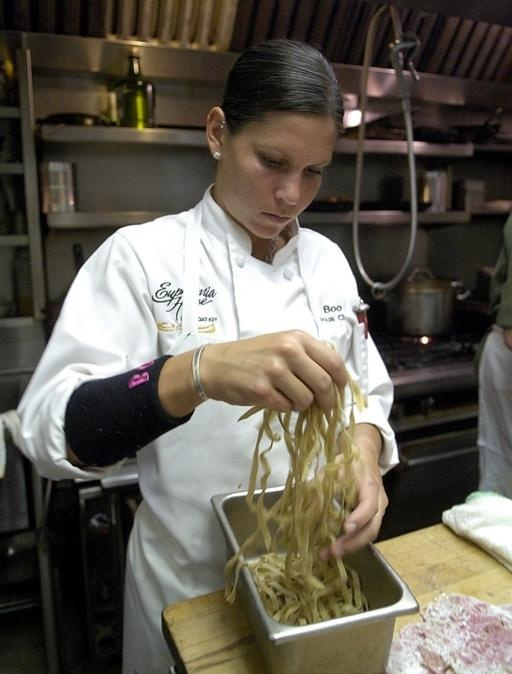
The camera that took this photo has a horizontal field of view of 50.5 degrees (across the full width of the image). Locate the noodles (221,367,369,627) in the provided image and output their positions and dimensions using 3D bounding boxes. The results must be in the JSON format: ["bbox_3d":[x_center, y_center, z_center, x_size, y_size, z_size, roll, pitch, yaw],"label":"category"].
[{"bbox_3d":[0.118,0.265,1.027,0.312,0.388,0.262,-4,15,-29],"label":"noodles"}]

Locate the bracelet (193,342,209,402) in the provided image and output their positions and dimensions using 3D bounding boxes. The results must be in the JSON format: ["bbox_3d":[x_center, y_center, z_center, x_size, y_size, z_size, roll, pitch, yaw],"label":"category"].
[{"bbox_3d":[-0.089,0.059,0.856,0.023,0.077,0.074,-1,10,-6],"label":"bracelet"}]

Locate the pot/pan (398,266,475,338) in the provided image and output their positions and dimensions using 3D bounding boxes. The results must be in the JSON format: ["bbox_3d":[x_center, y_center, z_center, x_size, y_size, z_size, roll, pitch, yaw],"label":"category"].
[{"bbox_3d":[0.880,-0.184,2.933,0.426,0.437,0.312,1,3,2],"label":"pot/pan"}]

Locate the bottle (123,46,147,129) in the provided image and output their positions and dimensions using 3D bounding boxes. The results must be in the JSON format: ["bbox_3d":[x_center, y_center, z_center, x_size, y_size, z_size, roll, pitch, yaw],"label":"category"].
[{"bbox_3d":[-0.536,-1.073,2.406,0.108,0.352,0.114,0,8,0],"label":"bottle"}]
